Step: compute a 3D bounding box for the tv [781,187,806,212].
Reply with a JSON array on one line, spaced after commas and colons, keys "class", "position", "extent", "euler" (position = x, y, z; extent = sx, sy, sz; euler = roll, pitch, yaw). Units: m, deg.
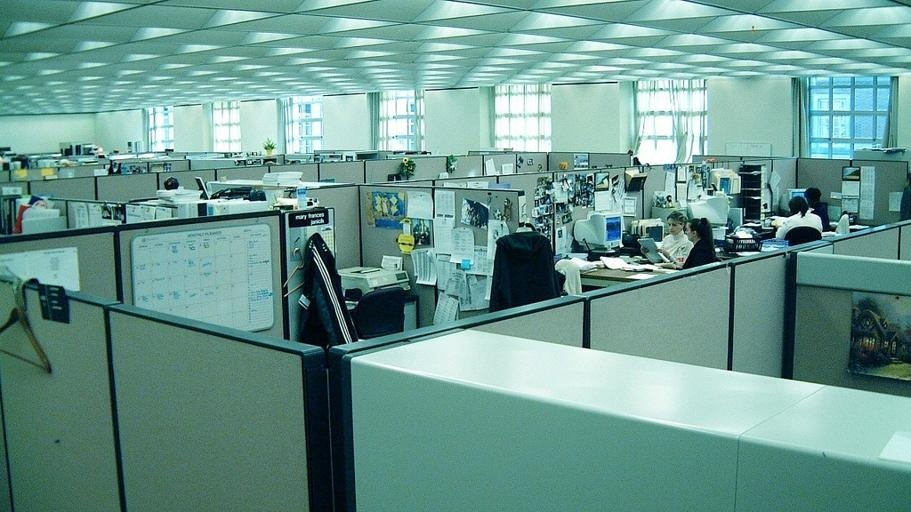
[{"class": "tv", "position": [4.226, -0.690, 10.079], "extent": [0.384, 0.326, 0.260], "euler": [4, 14, 19]}]

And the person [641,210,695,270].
[{"class": "person", "position": [2.295, -0.057, 8.637], "extent": [0.590, 0.724, 0.476], "euler": [-2, 9, 30]}]

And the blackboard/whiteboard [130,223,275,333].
[{"class": "blackboard/whiteboard", "position": [-1.483, 0.138, 5.044], "extent": [0.871, 0.637, 0.040], "euler": [-3, -8, 19]}]

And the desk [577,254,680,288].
[{"class": "desk", "position": [1.666, 0.216, 7.973], "extent": [0.729, 0.238, 0.890], "euler": [9, 13, 29]}]

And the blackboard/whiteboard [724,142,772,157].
[{"class": "blackboard/whiteboard", "position": [6.648, -2.443, 18.355], "extent": [1.081, 0.275, 0.515], "euler": [9, 13, 30]}]

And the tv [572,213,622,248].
[{"class": "tv", "position": [1.554, -0.290, 8.907], "extent": [0.475, 0.344, 0.504], "euler": [6, 7, 43]}]
